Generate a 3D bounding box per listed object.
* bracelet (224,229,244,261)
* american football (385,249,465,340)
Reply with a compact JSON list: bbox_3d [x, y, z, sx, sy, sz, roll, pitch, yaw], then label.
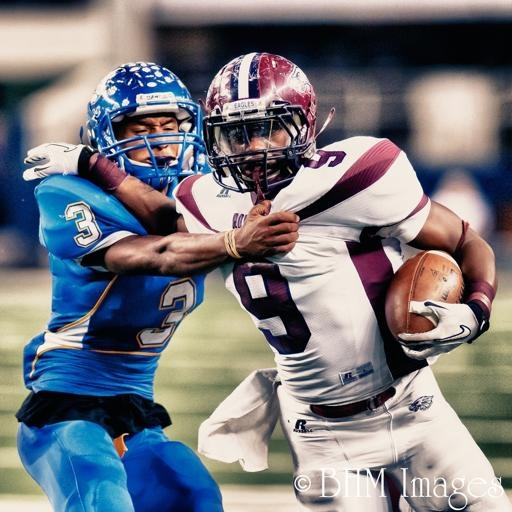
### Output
[{"bbox_3d":[-0.105,-0.046,4.693,0.065,0.119,0.079,-6,25,-4],"label":"bracelet"},{"bbox_3d":[0.699,0.180,4.701,0.457,0.297,0.613,3,14,14],"label":"american football"}]
